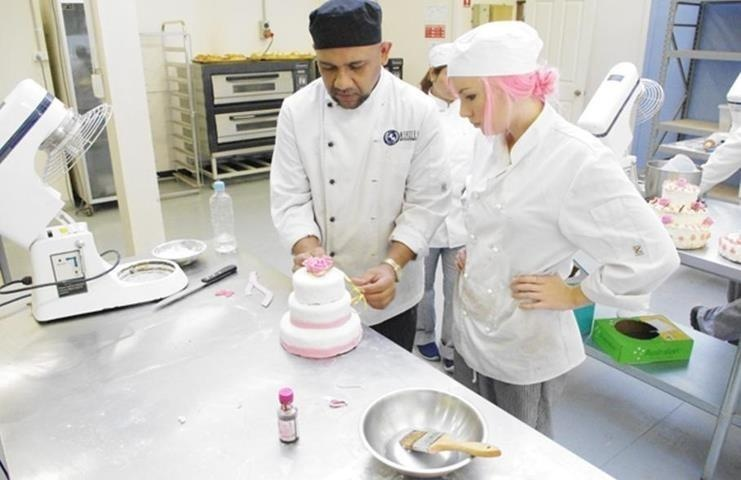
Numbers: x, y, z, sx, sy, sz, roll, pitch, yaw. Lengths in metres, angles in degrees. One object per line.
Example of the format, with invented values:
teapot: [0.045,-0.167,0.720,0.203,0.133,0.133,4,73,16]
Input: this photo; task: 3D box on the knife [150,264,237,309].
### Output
knife: [-0.717,0.193,1.930,0.047,0.032,0.319,19,31,30]

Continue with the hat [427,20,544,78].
hat: [0.427,-0.654,1.639,0.275,0.134,0.200,-9,36,-7]

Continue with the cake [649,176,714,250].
cake: [1.565,-0.136,2.420,0.305,0.316,0.306,-19,25,-37]

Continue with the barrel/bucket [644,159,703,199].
barrel/bucket: [1.768,-0.375,2.809,0.234,0.176,0.244,-1,23,1]

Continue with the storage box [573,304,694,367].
storage box: [1.477,0.539,2.579,0.403,0.150,0.297,-8,28,-15]

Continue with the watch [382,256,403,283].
watch: [0.096,0.115,1.908,0.060,0.099,0.092,-30,13,-28]

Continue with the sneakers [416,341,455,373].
sneakers: [0.428,0.730,3.068,0.117,0.152,0.339,-11,20,-34]

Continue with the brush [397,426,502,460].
brush: [0.201,0.563,1.315,0.314,0.036,0.093,-1,10,38]

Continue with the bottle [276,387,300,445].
bottle: [-0.252,0.493,1.422,0.063,0.149,0.154,-9,22,-12]
